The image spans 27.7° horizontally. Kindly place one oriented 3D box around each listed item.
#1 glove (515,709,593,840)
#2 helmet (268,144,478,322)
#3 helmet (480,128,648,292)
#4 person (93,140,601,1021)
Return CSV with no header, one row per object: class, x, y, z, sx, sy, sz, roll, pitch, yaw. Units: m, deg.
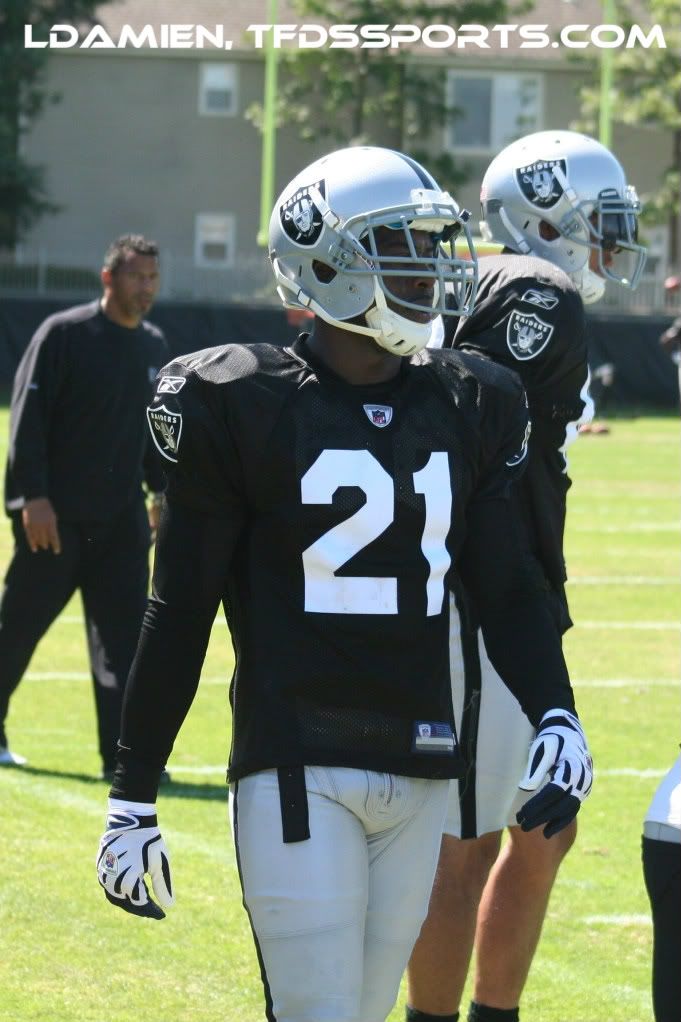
glove,0.317,0.407,2.100,0.076,0.197,0.114,-21,-46,31
helmet,0.046,-0.421,2.163,0.313,0.249,0.265,2,3,32
helmet,0.456,-0.673,3.117,0.406,0.406,0.322,0,9,1
person,0.052,0.094,2.039,0.741,1.300,0.481,-6,10,-43
